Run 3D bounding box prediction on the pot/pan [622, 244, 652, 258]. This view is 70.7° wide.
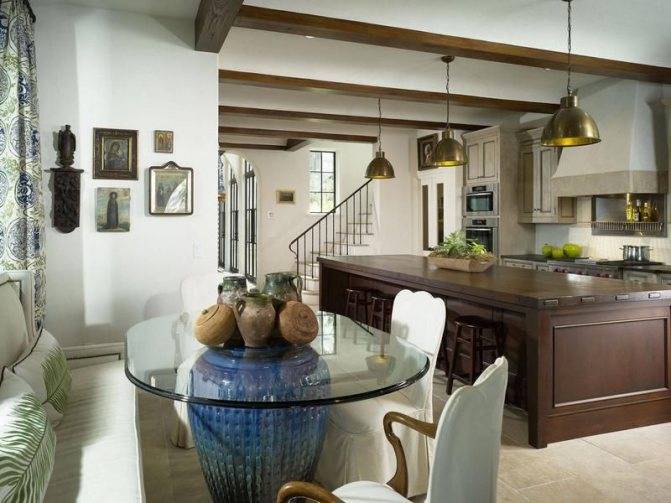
[{"bbox_3d":[3.522,0.016,5.523,0.223,0.122,0.146,-1,0,32],"label":"pot/pan"}]

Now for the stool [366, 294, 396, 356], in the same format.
[{"bbox_3d":[0.412,0.683,5.091,0.350,0.666,0.393,2,0,-8],"label":"stool"}]

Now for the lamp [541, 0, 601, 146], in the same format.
[{"bbox_3d":[2.093,-1.497,4.073,0.399,1.184,1.580,5,10,29],"label":"lamp"}]

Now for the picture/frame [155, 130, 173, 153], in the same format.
[{"bbox_3d":[-1.493,-0.960,4.110,0.186,0.259,0.033,0,-1,-32],"label":"picture/frame"}]

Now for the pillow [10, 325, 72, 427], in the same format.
[{"bbox_3d":[-1.495,0.638,2.397,0.119,0.290,0.427,-17,12,-11],"label":"pillow"}]

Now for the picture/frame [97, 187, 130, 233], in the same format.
[{"bbox_3d":[-1.880,-0.362,3.988,0.351,0.533,0.051,0,1,-30],"label":"picture/frame"}]

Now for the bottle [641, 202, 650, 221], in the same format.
[{"bbox_3d":[3.643,-0.467,5.534,0.063,0.234,0.104,-2,9,-9],"label":"bottle"}]

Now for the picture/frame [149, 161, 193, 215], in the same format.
[{"bbox_3d":[-1.449,-0.564,4.130,0.438,0.658,0.060,0,1,-34],"label":"picture/frame"}]

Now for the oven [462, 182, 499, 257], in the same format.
[{"bbox_3d":[2.180,-0.442,7.347,0.575,1.116,0.341,-3,7,-9],"label":"oven"}]

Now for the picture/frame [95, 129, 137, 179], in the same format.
[{"bbox_3d":[-1.856,-0.824,3.972,0.393,0.568,0.037,1,0,-29],"label":"picture/frame"}]

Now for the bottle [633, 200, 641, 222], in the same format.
[{"bbox_3d":[3.589,-0.489,5.617,0.064,0.253,0.111,2,9,15],"label":"bottle"}]

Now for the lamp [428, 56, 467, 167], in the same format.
[{"bbox_3d":[1.373,-1.602,5.673,0.358,1.136,2.127,2,9,13],"label":"lamp"}]
